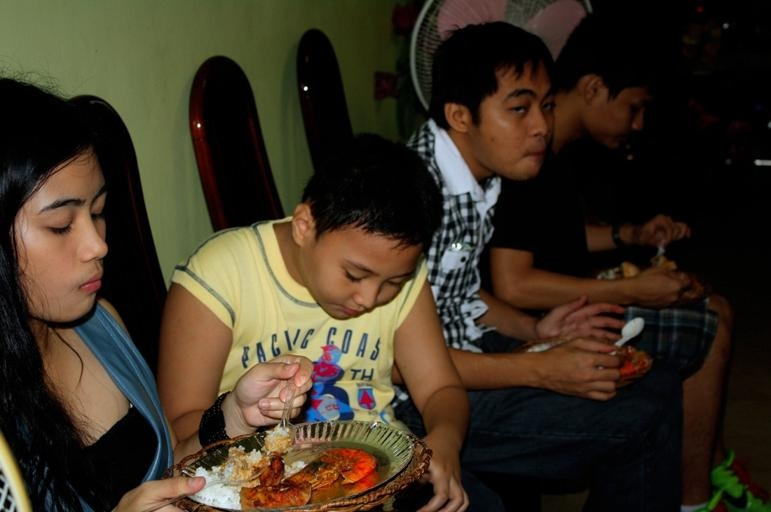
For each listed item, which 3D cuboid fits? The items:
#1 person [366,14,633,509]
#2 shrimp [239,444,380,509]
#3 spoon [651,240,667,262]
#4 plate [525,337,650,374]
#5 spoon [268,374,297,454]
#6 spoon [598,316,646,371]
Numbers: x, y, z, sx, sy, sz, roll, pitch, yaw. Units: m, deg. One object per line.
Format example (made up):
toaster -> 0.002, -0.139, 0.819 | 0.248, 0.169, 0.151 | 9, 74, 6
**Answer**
person -> 0.466, 0.125, 2.119 | 0.689, 1.740, 0.820 | 10, 17, 39
shrimp -> -0.144, 0.473, 1.279 | 0.312, 0.054, 0.187 | -7, 11, -32
spoon -> 1.327, -0.027, 2.943 | 0.074, 0.112, 0.032 | 0, 42, -18
plate -> 0.652, 0.301, 2.022 | 0.395, 0.122, 0.297 | 5, 5, 2
spoon -> -0.239, 0.375, 1.401 | 0.048, 0.142, 0.070 | 5, 8, 14
spoon -> 0.817, 0.280, 2.083 | 0.075, 0.038, 0.262 | 25, 54, 31
